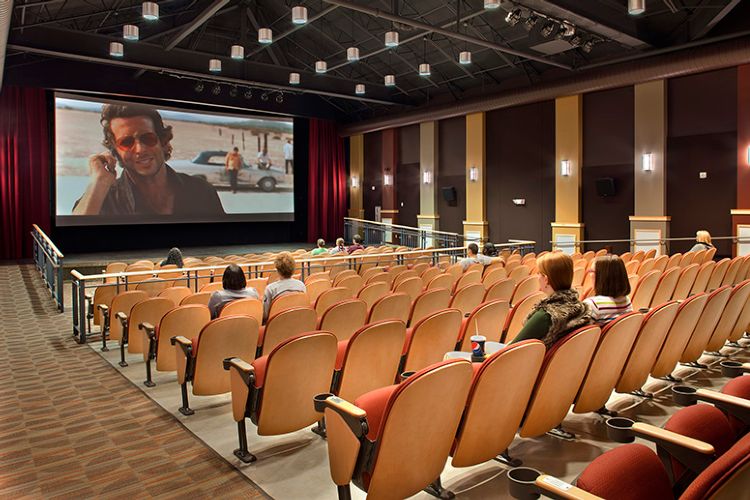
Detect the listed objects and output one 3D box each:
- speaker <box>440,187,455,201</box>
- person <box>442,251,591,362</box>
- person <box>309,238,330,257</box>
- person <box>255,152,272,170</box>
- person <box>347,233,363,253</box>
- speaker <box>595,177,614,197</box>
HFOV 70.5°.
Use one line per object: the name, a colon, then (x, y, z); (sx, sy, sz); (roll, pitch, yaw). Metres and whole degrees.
speaker: (2.516, -1.928, 18.233); (0.349, 0.465, 0.456); (-3, 10, -11)
person: (1.112, 0.433, 4.978); (0.808, 1.362, 1.210); (-4, 6, -30)
person: (-1.220, -0.002, 12.053); (0.662, 0.445, 0.986); (0, 7, -8)
person: (-4.042, -3.275, 19.507); (0.492, 0.858, 0.575); (7, 12, 41)
person: (-0.488, -0.160, 13.235); (0.438, 0.307, 0.756); (0, 3, -8)
speaker: (6.106, -1.713, 14.249); (0.331, 0.538, 0.484); (-2, 8, -36)
